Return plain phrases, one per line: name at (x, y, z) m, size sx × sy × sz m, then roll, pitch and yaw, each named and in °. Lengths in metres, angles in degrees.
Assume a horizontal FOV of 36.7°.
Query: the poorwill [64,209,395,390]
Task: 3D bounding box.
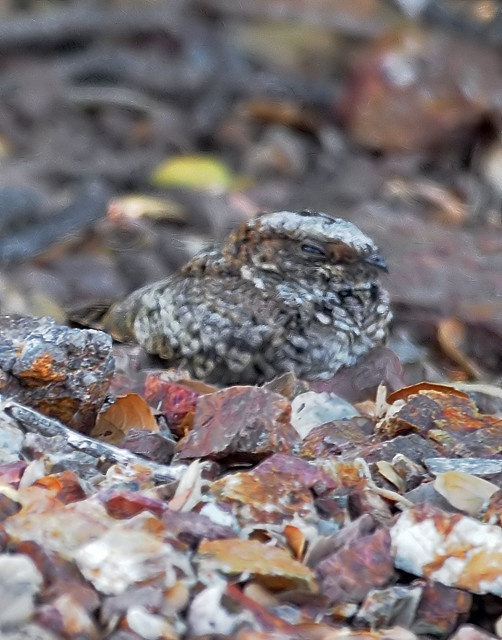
poorwill at (-0.035, -0.053, 1.354) m, size 0.475 × 0.265 × 0.307 m, roll 18°, pitch 32°, yaw 28°
